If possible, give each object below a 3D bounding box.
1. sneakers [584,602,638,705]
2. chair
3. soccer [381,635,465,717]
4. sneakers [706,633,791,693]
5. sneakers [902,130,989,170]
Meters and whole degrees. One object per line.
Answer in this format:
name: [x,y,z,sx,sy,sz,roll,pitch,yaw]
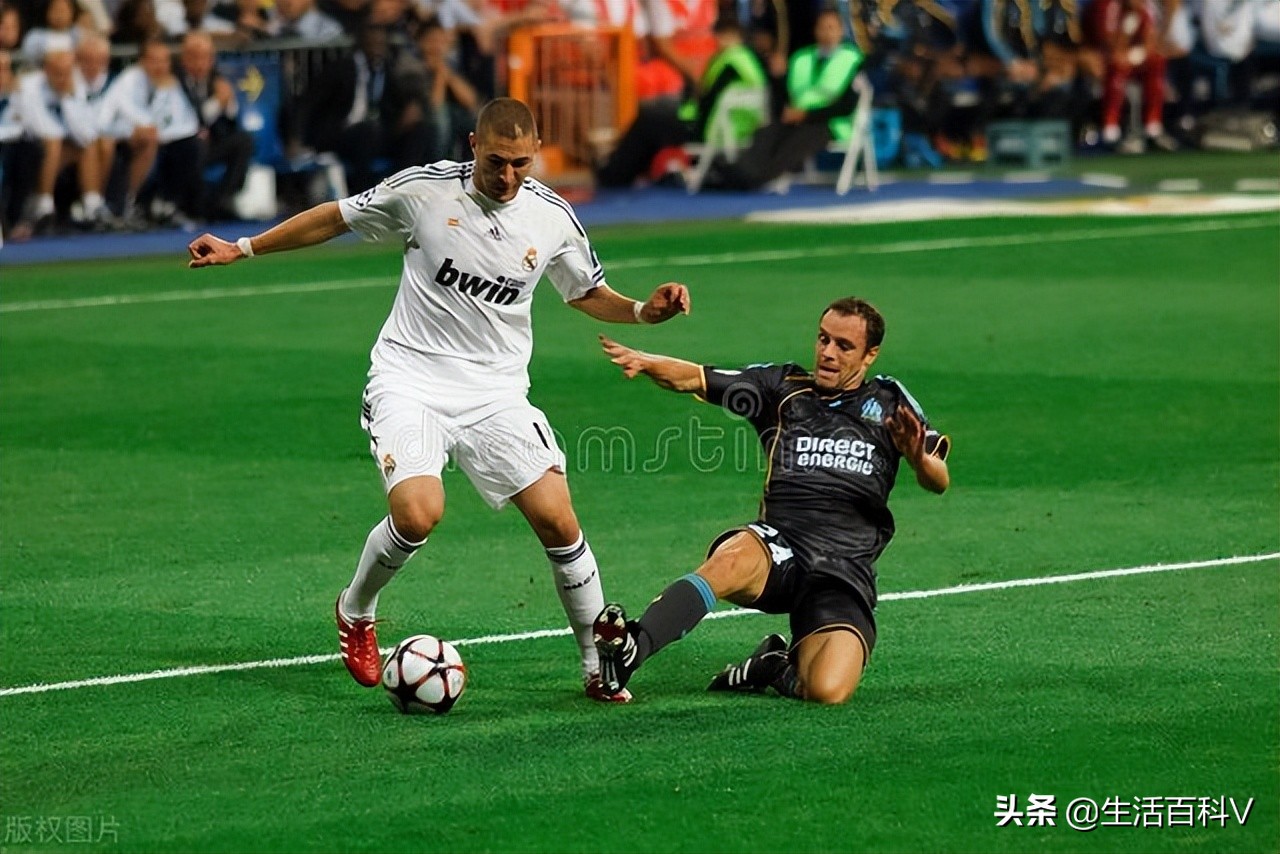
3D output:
sneakers: [-0.114,1.023,8.554,0.169,0.487,0.232,4,24,10]
chair: [1.794,-3.313,20.533,1.661,1.459,1.373,0,-2,35]
soccer: [-0.980,1.111,8.598,0.358,0.346,0.367,-3,-3,16]
sneakers: [0.461,1.114,8.830,0.477,0.212,0.159,-18,-40,30]
sneakers: [1.985,-1.807,12.490,0.444,0.147,0.257,0,11,12]
